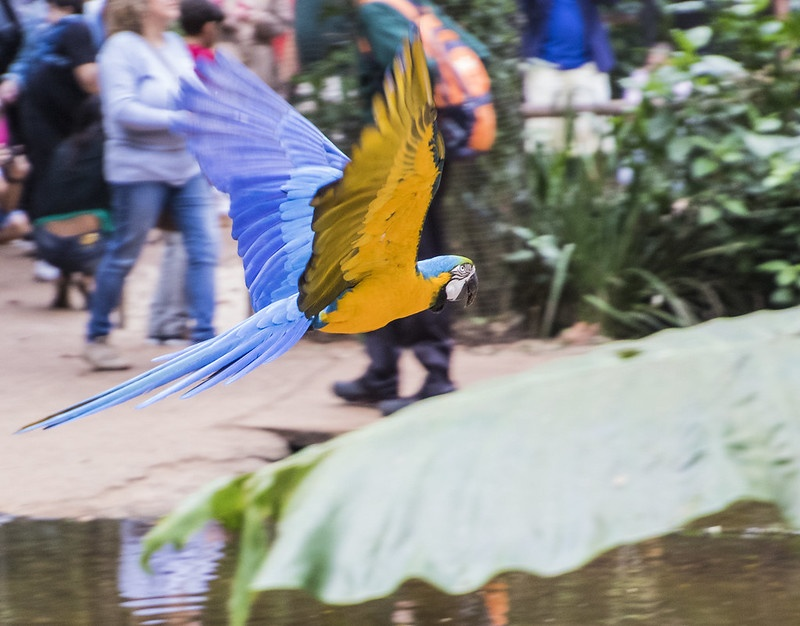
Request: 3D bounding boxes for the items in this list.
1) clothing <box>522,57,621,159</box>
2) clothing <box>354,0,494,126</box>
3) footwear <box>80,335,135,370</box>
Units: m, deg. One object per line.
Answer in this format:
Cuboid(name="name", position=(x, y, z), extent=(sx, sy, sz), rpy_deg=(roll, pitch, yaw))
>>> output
Cuboid(name="clothing", position=(0.735, -0.870, 6.350), extent=(0.553, 0.380, 0.184), rpy_deg=(6, -9, 14))
Cuboid(name="clothing", position=(0.118, -0.928, 5.315), extent=(0.651, 0.236, 0.563), rpy_deg=(18, 15, -22))
Cuboid(name="footwear", position=(-1.258, 0.174, 6.172), extent=(0.248, 0.116, 0.108), rpy_deg=(1, 23, -7))
